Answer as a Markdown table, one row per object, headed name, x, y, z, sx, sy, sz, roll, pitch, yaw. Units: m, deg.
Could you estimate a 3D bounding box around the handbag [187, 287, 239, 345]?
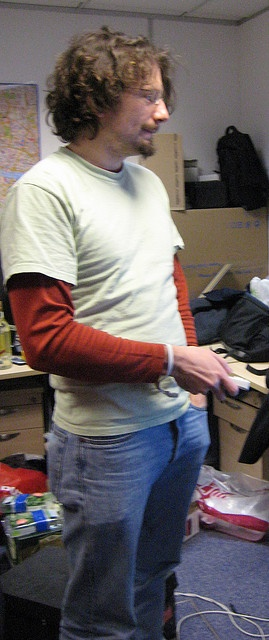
| name | x | y | z | sx | sy | sz | roll | pitch | yaw |
| --- | --- | --- | --- | --- | --- | --- | --- | --- | --- |
| handbag | 0.451 | -0.033 | 2.710 | 0.239 | 0.137 | 0.359 | -6 | 31 | 16 |
